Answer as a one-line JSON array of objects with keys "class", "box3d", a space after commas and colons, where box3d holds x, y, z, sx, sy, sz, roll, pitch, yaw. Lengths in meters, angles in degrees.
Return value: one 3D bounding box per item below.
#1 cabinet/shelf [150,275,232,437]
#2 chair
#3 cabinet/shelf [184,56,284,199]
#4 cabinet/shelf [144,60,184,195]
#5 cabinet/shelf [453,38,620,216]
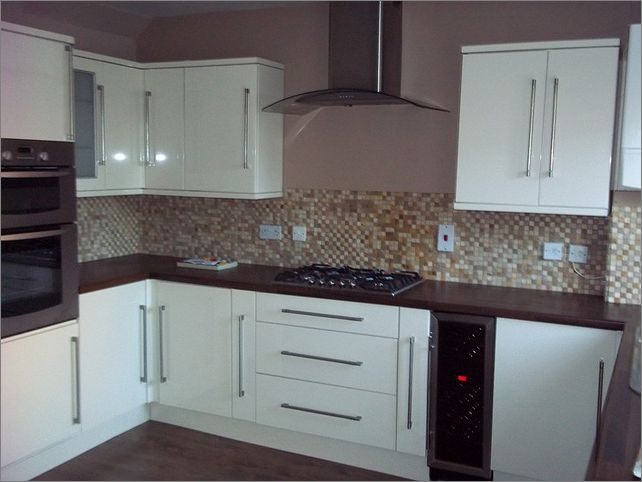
[{"class": "cabinet/shelf", "box3d": [-0.820, 0.723, 3.775, 0.619, 0.865, 0.563, -3, -2, 28]}, {"class": "chair", "box3d": [-1.577, -0.814, 3.863, 0.570, 0.890, 0.309, 4, 16, 0]}, {"class": "cabinet/shelf", "box3d": [-0.630, -0.783, 3.697, 0.726, 0.905, 0.342, 0, 11, -5]}, {"class": "cabinet/shelf", "box3d": [-1.159, -0.804, 3.833, 0.297, 0.785, 0.086, 0, 2, -6]}, {"class": "cabinet/shelf", "box3d": [1.269, -0.659, 2.993, 0.945, 1.170, 0.541, 2, 3, 19]}]
